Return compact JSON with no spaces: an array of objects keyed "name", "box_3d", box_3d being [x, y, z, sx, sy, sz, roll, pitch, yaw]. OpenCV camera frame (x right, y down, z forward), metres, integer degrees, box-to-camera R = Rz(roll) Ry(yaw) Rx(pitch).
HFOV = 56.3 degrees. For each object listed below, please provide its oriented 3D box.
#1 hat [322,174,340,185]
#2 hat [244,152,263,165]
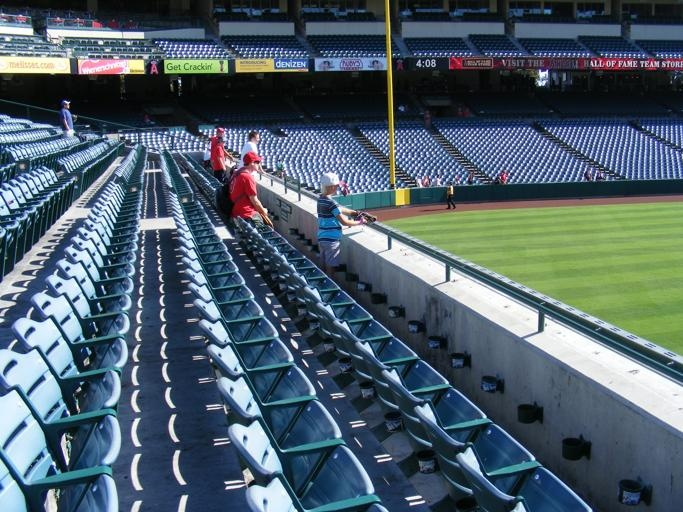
[{"name":"hat","box_3d":[-0.133,-0.951,7.912,0.188,0.103,0.136,-7,31,-10]},{"name":"hat","box_3d":[-1.135,-1.288,8.437,0.237,0.130,0.146,-21,33,-37]}]
